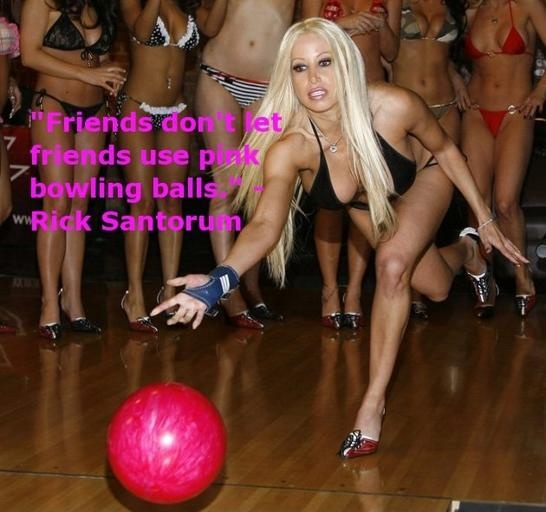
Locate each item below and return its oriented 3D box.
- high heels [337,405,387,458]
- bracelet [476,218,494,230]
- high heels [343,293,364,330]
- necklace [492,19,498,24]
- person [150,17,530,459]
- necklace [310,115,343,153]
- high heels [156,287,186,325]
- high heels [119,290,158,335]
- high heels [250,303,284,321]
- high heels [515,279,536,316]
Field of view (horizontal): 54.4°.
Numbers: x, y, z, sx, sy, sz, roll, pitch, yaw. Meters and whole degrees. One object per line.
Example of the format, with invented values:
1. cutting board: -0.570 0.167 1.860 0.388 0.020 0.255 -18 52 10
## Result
1. high heels: 0.248 0.488 1.466 0.099 0.084 0.209 -4 -4 24
2. bracelet: 0.648 -0.097 1.622 0.035 0.010 0.037 -31 -3 30
3. high heels: 0.422 0.304 2.874 0.079 0.212 0.057 -5 -4 18
4. necklace: 1.260 -1.324 3.020 0.028 0.028 0.007 -4 -7 5
5. person: 0.160 -0.011 1.511 1.029 1.164 0.505 -18 11 -30
6. necklace: 0.140 -0.316 1.447 0.024 0.105 0.058 -23 7 42
7. high heels: -0.611 0.281 3.148 0.128 0.167 0.416 -1 -3 -6
8. high heels: -0.746 0.319 2.865 0.118 0.147 0.344 -8 26 -43
9. high heels: -0.052 0.328 3.096 0.223 0.084 0.076 5 6 17
10. high heels: 1.479 0.246 3.105 0.111 0.107 0.324 -2 43 32
